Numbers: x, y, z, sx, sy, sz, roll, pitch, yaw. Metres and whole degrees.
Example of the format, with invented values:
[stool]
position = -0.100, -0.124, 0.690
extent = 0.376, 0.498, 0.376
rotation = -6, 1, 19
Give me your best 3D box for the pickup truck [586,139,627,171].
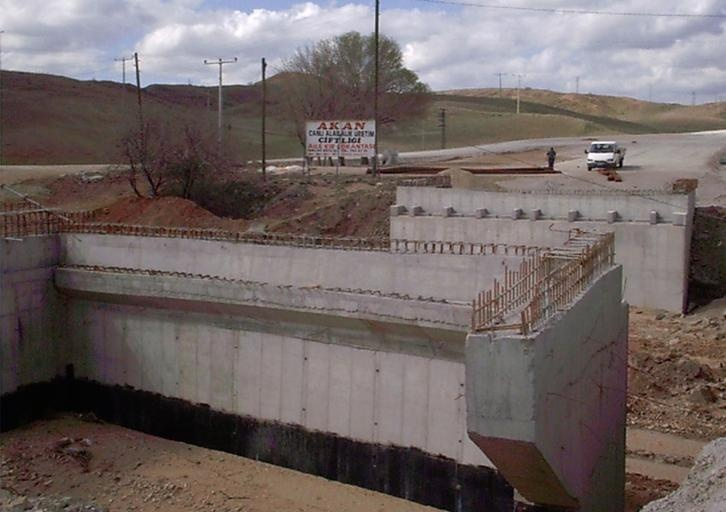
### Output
[pickup truck]
position = 14.649, -6.046, 49.769
extent = 1.515, 1.314, 2.811
rotation = 2, 10, 28
